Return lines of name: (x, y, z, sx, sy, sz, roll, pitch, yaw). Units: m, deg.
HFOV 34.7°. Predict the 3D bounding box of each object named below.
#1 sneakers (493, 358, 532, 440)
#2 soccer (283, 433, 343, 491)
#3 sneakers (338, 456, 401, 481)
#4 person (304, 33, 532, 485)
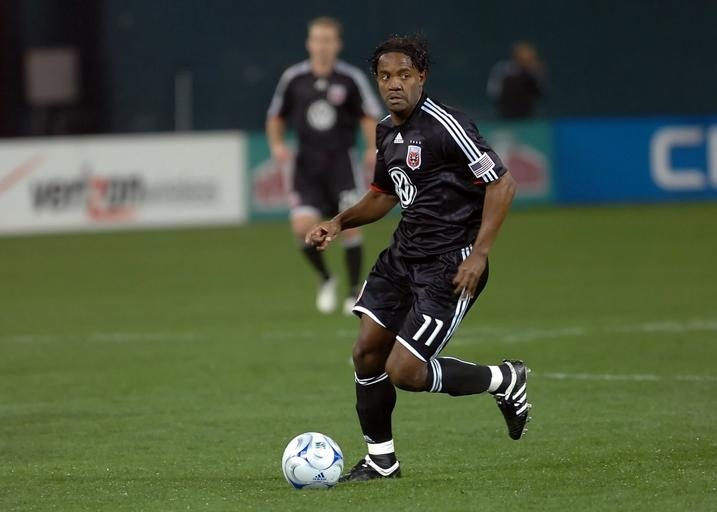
sneakers: (1.125, 0.975, 7.924, 0.309, 0.568, 0.222, -13, 9, -38)
soccer: (-0.301, 1.364, 7.599, 0.370, 0.336, 0.352, -5, 38, 19)
sneakers: (0.070, 1.416, 7.681, 0.449, 0.170, 0.145, 0, -8, -6)
person: (0.458, -0.013, 7.661, 1.235, 2.849, 0.868, -1, 14, -2)
